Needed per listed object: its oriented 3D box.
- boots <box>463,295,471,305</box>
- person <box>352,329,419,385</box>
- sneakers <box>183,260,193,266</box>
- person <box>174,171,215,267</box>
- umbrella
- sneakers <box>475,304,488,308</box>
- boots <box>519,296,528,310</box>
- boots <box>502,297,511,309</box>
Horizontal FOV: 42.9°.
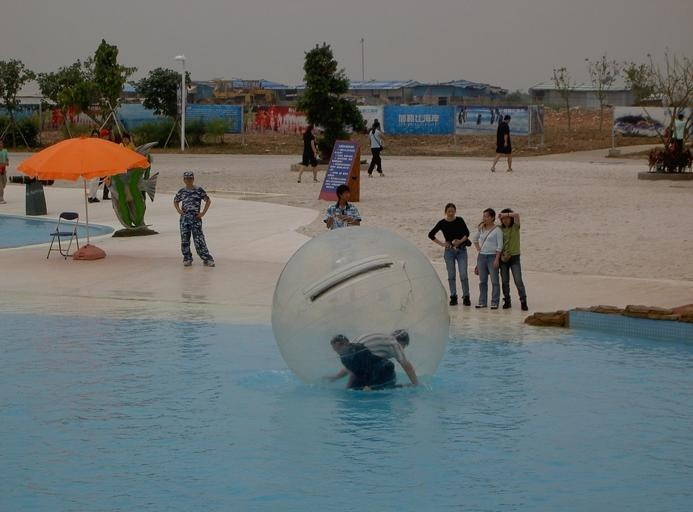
[{"bbox_3d":[2.041,0.750,14.942,0.136,0.209,0.472,-1,-2,-1],"label":"boots"},{"bbox_3d":[0.544,1.034,9.993,0.867,0.374,0.599,1,34,-8],"label":"person"},{"bbox_3d":[-3.107,0.147,17.351,0.117,0.114,0.104,8,-7,-43],"label":"sneakers"},{"bbox_3d":[-3.034,-0.783,17.575,0.713,1.831,1.191,-3,13,-11],"label":"person"},{"bbox_3d":[-5.364,-1.194,18.316,2.208,2.529,2.247,-4,10,-6],"label":"umbrella"},{"bbox_3d":[2.271,0.849,14.793,0.186,0.080,0.069,3,-1,-30],"label":"sneakers"},{"bbox_3d":[2.949,0.765,14.593,0.126,0.225,0.360,2,14,11],"label":"boots"},{"bbox_3d":[2.712,0.769,14.847,0.158,0.177,0.311,2,14,11],"label":"boots"}]
